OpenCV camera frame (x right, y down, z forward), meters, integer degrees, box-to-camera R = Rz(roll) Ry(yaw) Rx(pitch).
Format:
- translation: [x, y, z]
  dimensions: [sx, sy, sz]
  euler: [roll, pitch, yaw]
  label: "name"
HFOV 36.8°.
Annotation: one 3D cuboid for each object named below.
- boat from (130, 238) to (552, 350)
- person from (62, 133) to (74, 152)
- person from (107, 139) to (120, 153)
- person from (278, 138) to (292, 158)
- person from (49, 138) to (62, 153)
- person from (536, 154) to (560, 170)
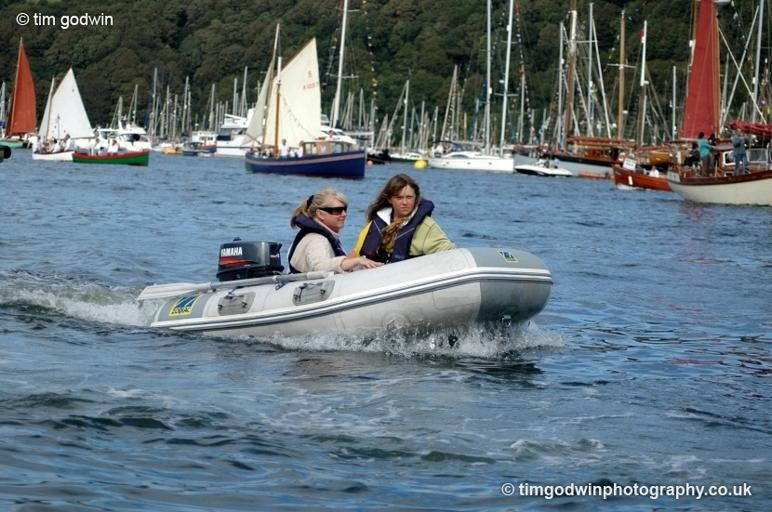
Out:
- translation: [-0.745, 0.607, 18.566]
  dimensions: [4.868, 1.521, 2.337]
  euler: [-3, -8, 20]
  label: "boat"
- translation: [-17.470, -6.062, 64.005]
  dimensions: [0.472, 0.635, 1.168]
  euler: [0, 0, -17]
  label: "person"
- translation: [-14.758, -5.876, 62.881]
  dimensions: [0.555, 0.896, 1.888]
  euler: [0, 0, -13]
  label: "person"
- translation: [-5.106, -5.364, 58.491]
  dimensions: [0.516, 0.739, 1.662]
  euler: [0, 0, -6]
  label: "person"
- translation: [-18.324, -6.058, 64.887]
  dimensions: [0.641, 0.910, 2.972]
  euler: [0, 0, -15]
  label: "person"
- translation: [9.491, -5.530, 69.145]
  dimensions: [0.869, 0.605, 1.447]
  euler: [3, 0, -1]
  label: "person"
